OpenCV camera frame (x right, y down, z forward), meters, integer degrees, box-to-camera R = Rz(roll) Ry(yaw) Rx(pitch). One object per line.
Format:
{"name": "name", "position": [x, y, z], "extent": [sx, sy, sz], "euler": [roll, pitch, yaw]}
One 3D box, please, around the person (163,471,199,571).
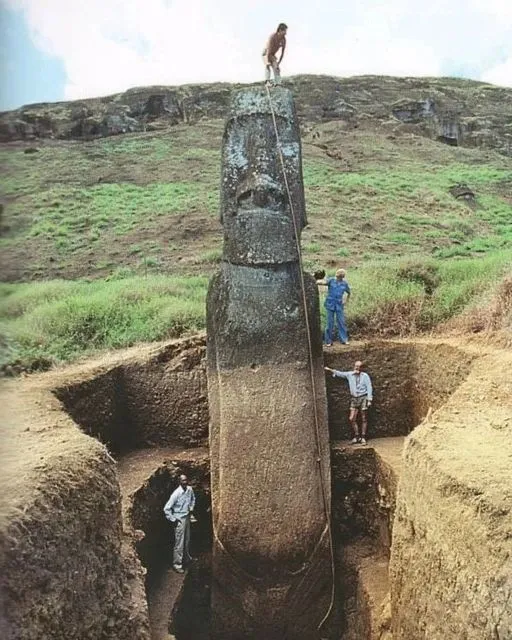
{"name": "person", "position": [-0.799, 2.060, 7.595], "extent": [0.323, 1.048, 0.575], "euler": [-5, 9, -8]}

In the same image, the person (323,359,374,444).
{"name": "person", "position": [1.112, 0.879, 8.078], "extent": [0.525, 0.922, 0.536], "euler": [-11, 12, -37]}
